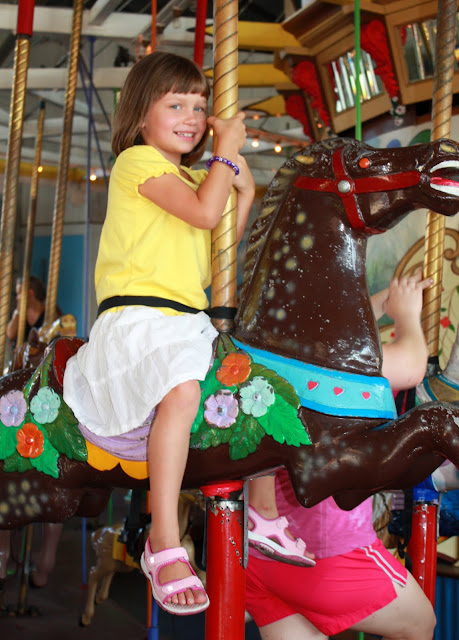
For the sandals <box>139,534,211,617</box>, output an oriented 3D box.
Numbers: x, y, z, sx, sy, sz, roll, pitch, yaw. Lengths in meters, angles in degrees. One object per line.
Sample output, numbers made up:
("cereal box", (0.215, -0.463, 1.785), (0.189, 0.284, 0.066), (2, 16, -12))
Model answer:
("sandals", (-0.088, 0.413, 1.005), (0.069, 0.068, 0.179), (-6, 13, -25))
